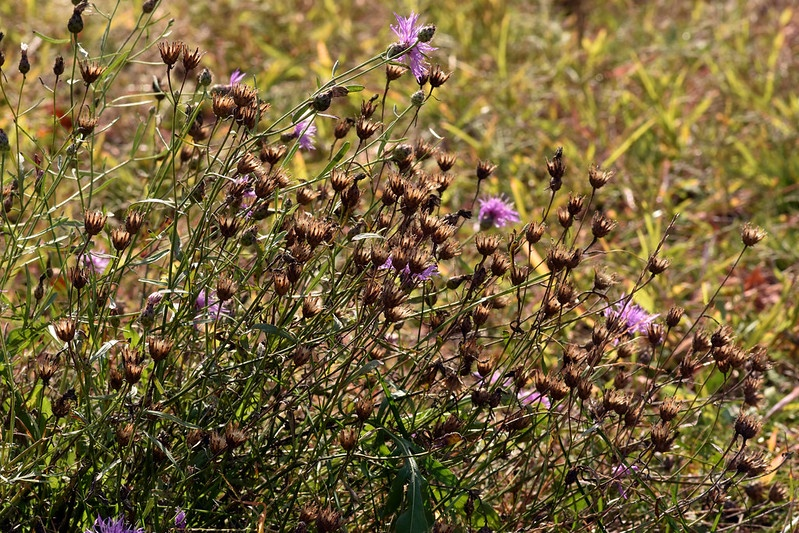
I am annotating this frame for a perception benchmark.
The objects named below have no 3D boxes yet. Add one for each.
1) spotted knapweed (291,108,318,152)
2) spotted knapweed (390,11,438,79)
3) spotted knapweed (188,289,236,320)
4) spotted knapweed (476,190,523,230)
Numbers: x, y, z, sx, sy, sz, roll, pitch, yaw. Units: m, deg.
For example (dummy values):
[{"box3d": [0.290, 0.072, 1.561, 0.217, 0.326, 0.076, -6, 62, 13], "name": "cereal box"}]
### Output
[{"box3d": [-0.270, -0.404, 3.098, 0.062, 0.122, 0.110, -3, 6, 19], "name": "spotted knapweed"}, {"box3d": [0.037, -0.666, 2.979, 0.086, 0.186, 0.198, -17, 63, 14], "name": "spotted knapweed"}, {"box3d": [-0.547, 0.113, 2.945, 0.087, 0.095, 0.053, 16, 77, 28], "name": "spotted knapweed"}, {"box3d": [0.330, -0.159, 3.387, 0.117, 0.127, 0.130, 26, 23, 5], "name": "spotted knapweed"}]
